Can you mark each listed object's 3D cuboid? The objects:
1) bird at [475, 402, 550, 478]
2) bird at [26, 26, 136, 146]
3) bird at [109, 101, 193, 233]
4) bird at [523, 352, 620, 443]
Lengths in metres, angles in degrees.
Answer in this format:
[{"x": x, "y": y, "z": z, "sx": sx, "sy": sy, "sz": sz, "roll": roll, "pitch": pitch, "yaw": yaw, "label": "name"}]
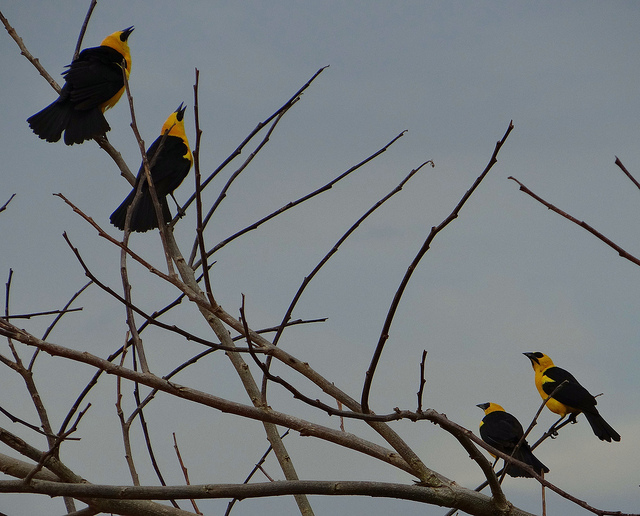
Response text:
[{"x": 1.108, "y": 1.048, "z": 7.007, "sx": 0.229, "sy": 0.423, "sz": 0.708, "roll": 12, "pitch": -9, "yaw": -20, "label": "bird"}, {"x": -1.294, "y": -0.993, "z": 6.726, "sx": 0.426, "sy": 0.891, "sz": 0.584, "roll": 6, "pitch": -69, "yaw": 23, "label": "bird"}, {"x": -0.876, "y": -0.490, "z": 6.490, "sx": 0.305, "sy": 0.730, "sz": 0.591, "roll": -5, "pitch": -77, "yaw": 34, "label": "bird"}, {"x": 1.496, "y": 0.800, "z": 7.012, "sx": 0.627, "sy": 0.491, "sz": 0.201, "roll": 2, "pitch": -2, "yaw": 43, "label": "bird"}]
